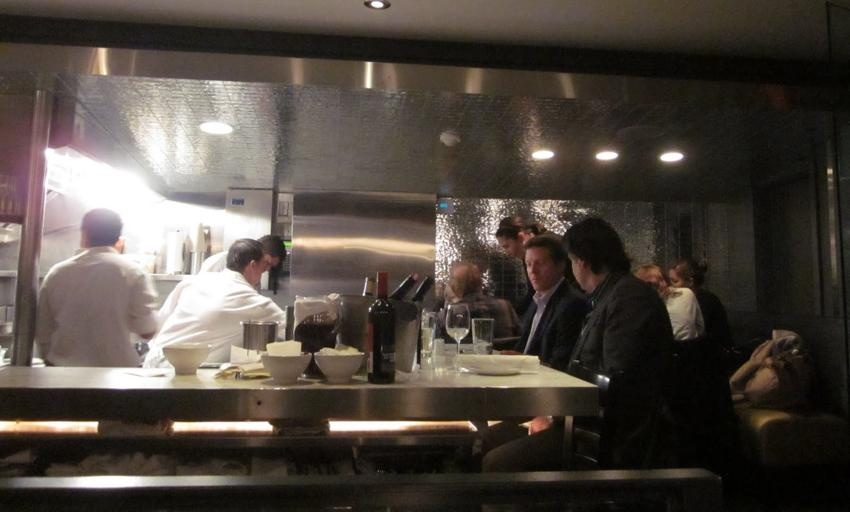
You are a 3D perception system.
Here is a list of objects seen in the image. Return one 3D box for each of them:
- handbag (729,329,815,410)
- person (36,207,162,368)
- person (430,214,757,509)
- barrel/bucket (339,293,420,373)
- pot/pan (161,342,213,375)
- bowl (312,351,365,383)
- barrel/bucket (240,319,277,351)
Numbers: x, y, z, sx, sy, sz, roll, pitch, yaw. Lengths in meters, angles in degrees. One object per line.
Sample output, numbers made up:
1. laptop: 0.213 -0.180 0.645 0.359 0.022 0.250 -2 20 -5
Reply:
1. handbag: 1.617 0.539 3.240 0.213 0.286 0.388 18 -42 -31
2. person: -1.513 0.146 3.224 0.492 0.713 0.147 3 -3 -25
3. person: 0.670 0.807 3.838 1.605 1.887 0.826 4 -33 5
4. barrel/bucket: -0.173 0.311 2.810 0.356 0.316 0.303 0 -7 14
5. pot/pan: -0.970 0.413 2.836 0.153 0.075 0.140 1 -7 3
6. bowl: -0.347 0.448 2.794 0.204 0.102 0.198 0 -6 0
7. barrel/bucket: -0.711 0.337 2.965 0.145 0.096 0.134 1 -3 0
